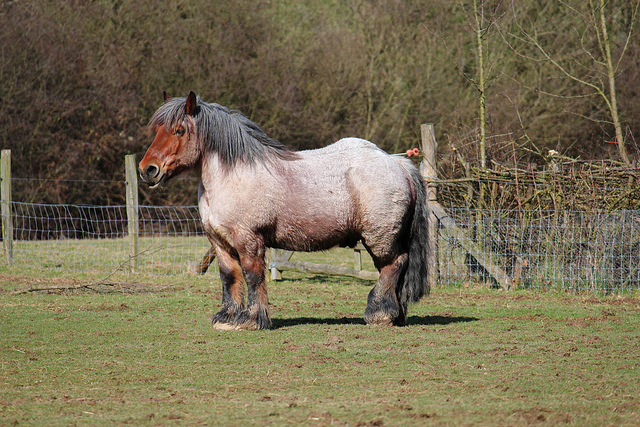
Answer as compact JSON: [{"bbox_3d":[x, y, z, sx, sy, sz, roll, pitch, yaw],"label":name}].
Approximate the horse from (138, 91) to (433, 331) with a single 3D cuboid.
[{"bbox_3d":[-1.175,0.130,32.039,6.396,5.151,2.067,0,2,-4],"label":"horse"}]
